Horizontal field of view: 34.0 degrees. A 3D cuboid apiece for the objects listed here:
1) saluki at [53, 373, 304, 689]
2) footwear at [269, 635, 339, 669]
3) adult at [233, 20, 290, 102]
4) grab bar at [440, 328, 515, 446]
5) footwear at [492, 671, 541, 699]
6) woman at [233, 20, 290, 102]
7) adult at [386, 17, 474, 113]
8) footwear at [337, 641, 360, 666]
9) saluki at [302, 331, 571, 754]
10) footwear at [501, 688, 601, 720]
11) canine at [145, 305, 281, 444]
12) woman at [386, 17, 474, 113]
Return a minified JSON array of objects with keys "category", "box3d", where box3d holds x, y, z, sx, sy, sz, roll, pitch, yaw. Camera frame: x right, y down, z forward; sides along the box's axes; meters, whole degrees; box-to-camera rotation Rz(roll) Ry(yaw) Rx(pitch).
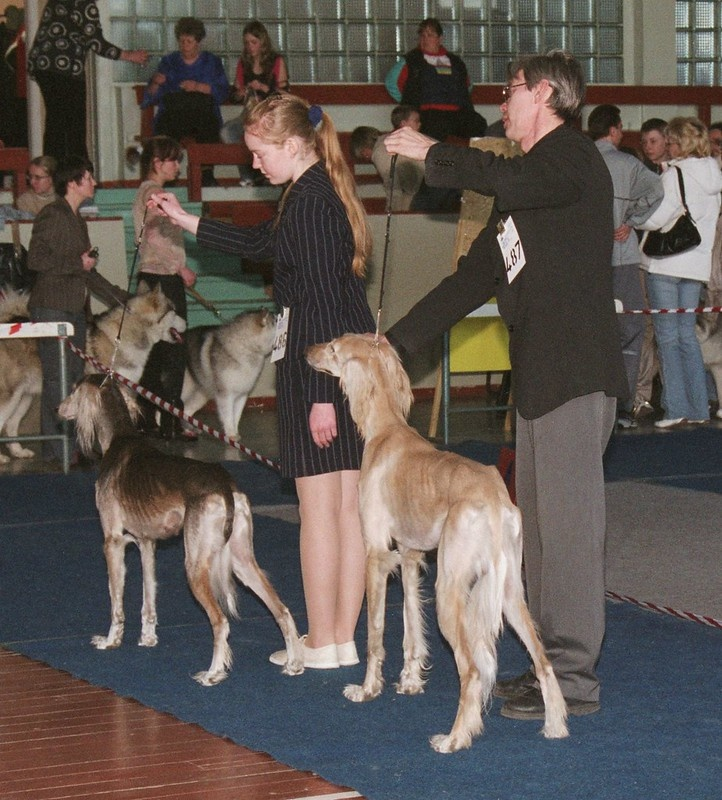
[{"category":"saluki","box3d":[-0.706,0.450,4.285,0.302,0.957,1.390,-1,4,-43]},{"category":"footwear","box3d":[-0.213,0.898,4.189,0.246,0.107,0.096,-1,-2,18]},{"category":"adult","box3d":[-1.012,-3.301,11.553,0.559,0.781,0.482,14,37,26]},{"category":"grab bar","box3d":[0.812,-0.245,8.944,0.410,0.638,0.383,-1,0,11]},{"category":"footwear","box3d":[0.495,0.919,3.782,0.179,0.072,0.063,-8,-1,23]},{"category":"woman","box3d":[-1.007,-3.351,11.741,0.512,0.850,1.908,-2,7,-6]},{"category":"adult","box3d":[0.684,-3.411,12.079,0.941,0.884,0.609,-3,14,-13]},{"category":"footwear","box3d":[-0.043,0.899,4.137,0.046,0.049,0.113,-4,1,-13]},{"category":"saluki","box3d":[0.181,0.404,3.738,0.418,1.162,1.224,-2,5,-27]},{"category":"footwear","box3d":[0.597,0.946,3.696,0.293,0.126,0.109,1,-2,6]},{"category":"canine","box3d":[-1.162,-0.188,9.529,1.224,1.021,0.446,3,2,17]},{"category":"woman","box3d":[0.706,-3.415,12.081,0.943,0.894,0.608,-3,15,-13]}]
